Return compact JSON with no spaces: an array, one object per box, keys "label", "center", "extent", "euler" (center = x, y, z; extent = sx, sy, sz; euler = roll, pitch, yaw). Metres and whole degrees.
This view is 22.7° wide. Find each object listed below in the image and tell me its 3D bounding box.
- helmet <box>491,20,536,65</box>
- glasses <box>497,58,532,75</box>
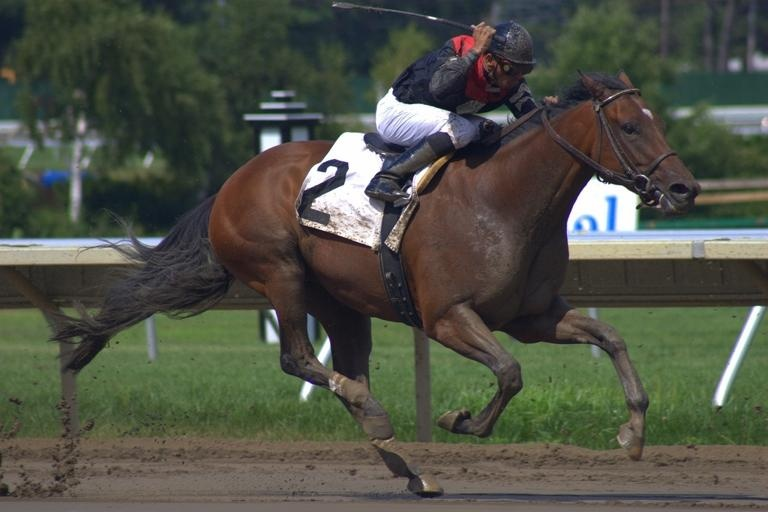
[{"label":"helmet","center":[1.579,-2.580,23.164],"extent":[0.460,0.318,0.582],"euler":[5,18,-44]},{"label":"glasses","center":[1.644,-2.255,23.088],"extent":[0.241,0.108,0.304],"euler":[10,-5,-32]}]
